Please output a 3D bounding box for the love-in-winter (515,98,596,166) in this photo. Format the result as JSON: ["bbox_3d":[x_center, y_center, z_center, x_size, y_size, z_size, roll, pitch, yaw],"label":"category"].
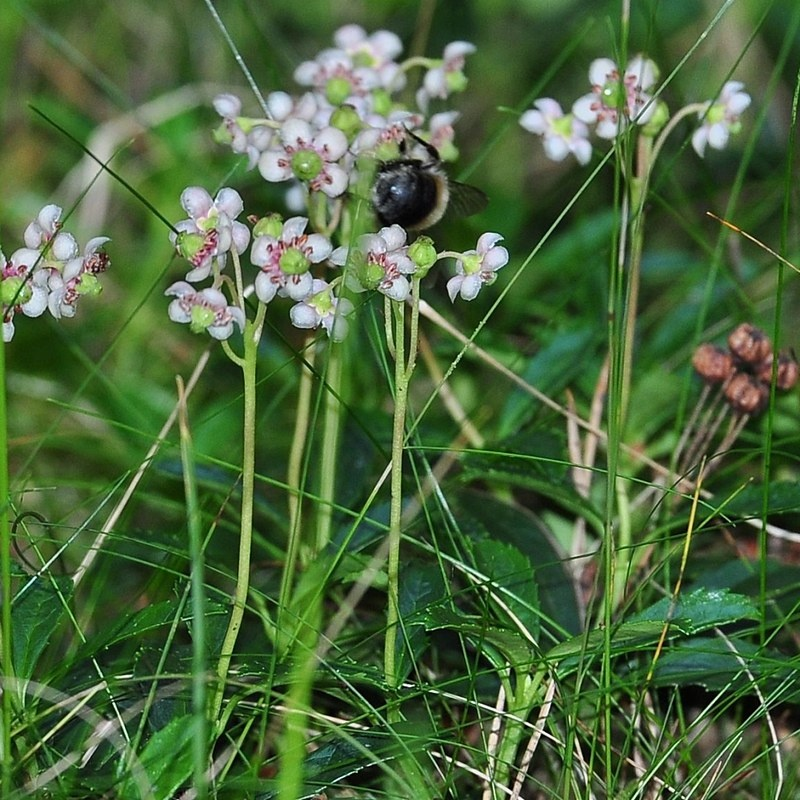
[{"bbox_3d":[0.234,-0.392,1.383,0.021,0.095,0.100,-56,-6,-25],"label":"love-in-winter"}]

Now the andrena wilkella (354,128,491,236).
[{"bbox_3d":[0.023,-0.260,1.202,0.061,0.148,0.136,7,46,48],"label":"andrena wilkella"}]
